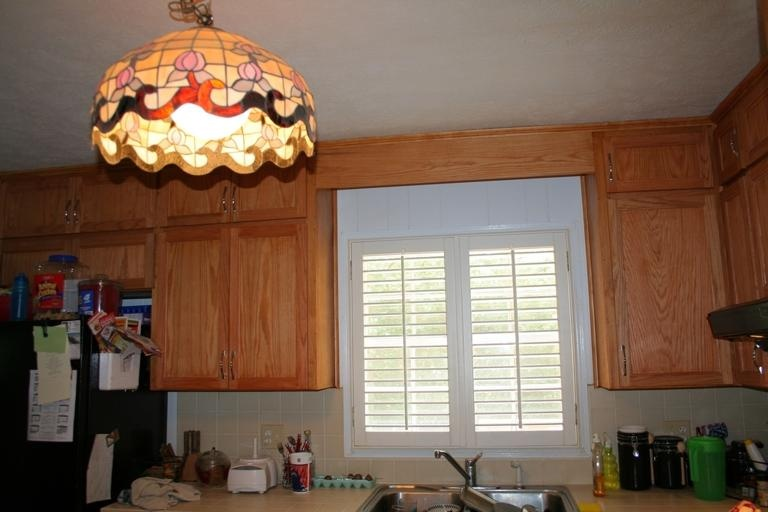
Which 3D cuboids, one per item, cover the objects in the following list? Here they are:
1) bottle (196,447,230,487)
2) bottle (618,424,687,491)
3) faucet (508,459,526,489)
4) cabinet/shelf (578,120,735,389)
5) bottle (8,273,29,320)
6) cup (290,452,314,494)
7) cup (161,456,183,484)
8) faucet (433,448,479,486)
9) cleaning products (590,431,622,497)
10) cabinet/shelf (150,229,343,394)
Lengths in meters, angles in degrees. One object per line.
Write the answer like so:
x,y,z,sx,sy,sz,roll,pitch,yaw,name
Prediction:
-1.006,1.256,3.714,0.191,0.197,0.203,6,-11,-31,bottle
1.449,1.108,3.492,0.401,0.331,0.280,-1,-5,20,bottle
0.757,1.241,3.555,0.075,0.135,0.121,-4,-13,10,faucet
1.526,0.010,3.544,0.637,1.448,0.343,-1,-11,5,cabinet/shelf
-2.052,0.233,3.563,0.107,0.281,0.152,11,-18,-41,bottle
-0.472,1.241,3.600,0.141,0.216,0.113,3,-14,-19,cup
-1.217,1.261,3.662,0.114,0.137,0.110,0,-12,0,cup
0.432,1.234,3.610,0.300,0.198,0.079,-3,-15,38,faucet
1.225,1.153,3.476,0.143,0.317,0.248,-5,-14,18,cleaning products
-0.819,0.304,3.812,1.087,0.960,0.446,-2,-4,21,cabinet/shelf
